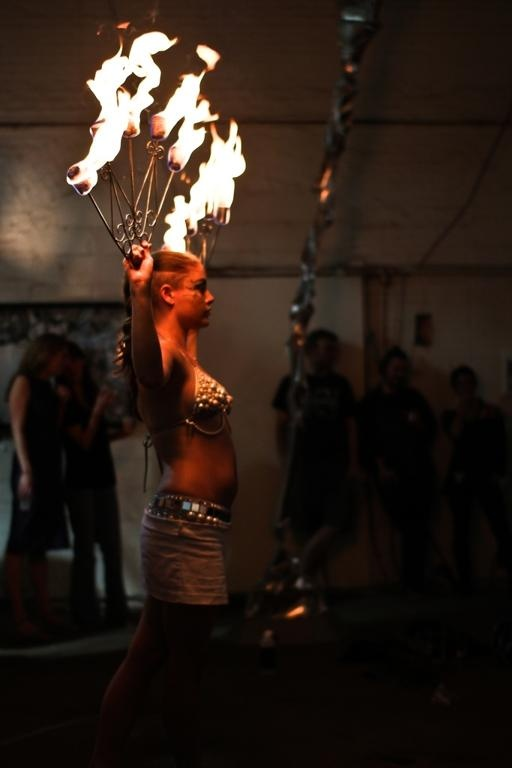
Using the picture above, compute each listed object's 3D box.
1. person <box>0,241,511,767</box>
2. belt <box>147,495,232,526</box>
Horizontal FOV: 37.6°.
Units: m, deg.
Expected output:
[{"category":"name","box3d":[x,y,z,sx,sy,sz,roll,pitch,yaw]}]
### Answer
[{"category":"person","box3d":[0.070,0.334,1.964,1.109,0.833,1.259,-1,3,-1]},{"category":"belt","box3d":[-0.138,0.259,1.565,0.173,0.062,0.076,4,0,-8]}]
